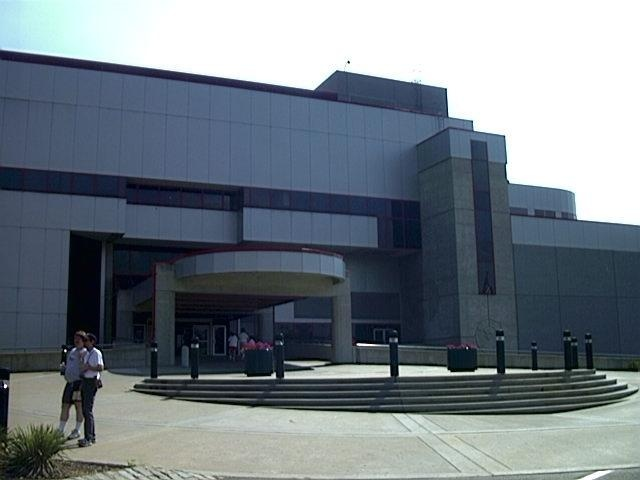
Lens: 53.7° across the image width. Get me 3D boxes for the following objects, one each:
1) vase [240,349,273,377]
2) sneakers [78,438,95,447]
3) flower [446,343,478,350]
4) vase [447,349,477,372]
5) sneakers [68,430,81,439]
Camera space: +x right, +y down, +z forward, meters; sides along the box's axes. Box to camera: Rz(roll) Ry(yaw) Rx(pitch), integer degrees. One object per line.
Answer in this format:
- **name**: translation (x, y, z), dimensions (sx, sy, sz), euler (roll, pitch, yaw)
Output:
- **vase**: translation (-2.221, 4.423, 22.925), dimensions (0.990, 0.970, 0.451), euler (0, -10, -12)
- **sneakers**: translation (-5.164, 4.456, 13.947), dimensions (0.274, 0.153, 0.141), euler (3, -11, 9)
- **flower**: translation (5.504, 4.053, 23.873), dimensions (1.106, 0.275, 1.117), euler (5, -8, -36)
- **vase**: translation (5.281, 4.434, 23.447), dimensions (1.041, 0.897, 0.589), euler (-4, -10, 10)
- **sneakers**: translation (-5.600, 4.421, 14.397), dimensions (0.116, 0.178, 0.381), euler (-1, -9, 8)
